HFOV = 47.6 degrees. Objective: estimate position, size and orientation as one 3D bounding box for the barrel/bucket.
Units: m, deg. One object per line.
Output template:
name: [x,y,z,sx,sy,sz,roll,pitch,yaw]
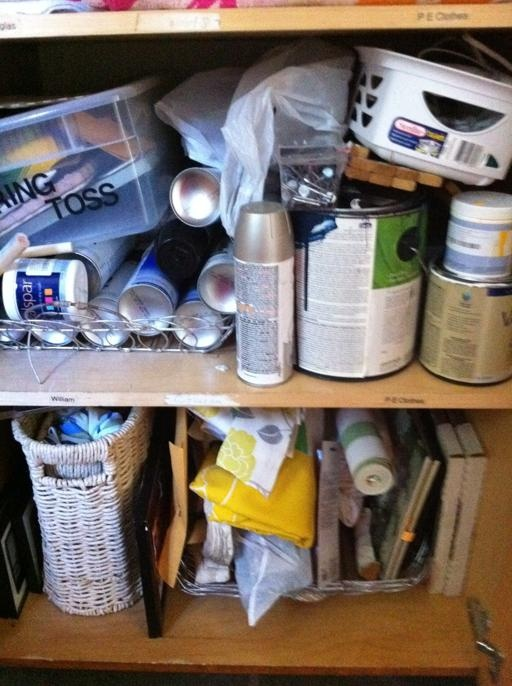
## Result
barrel/bucket: [0.102,-0.093,0.749,0.205,0.219,0.202,-2,35,1]
